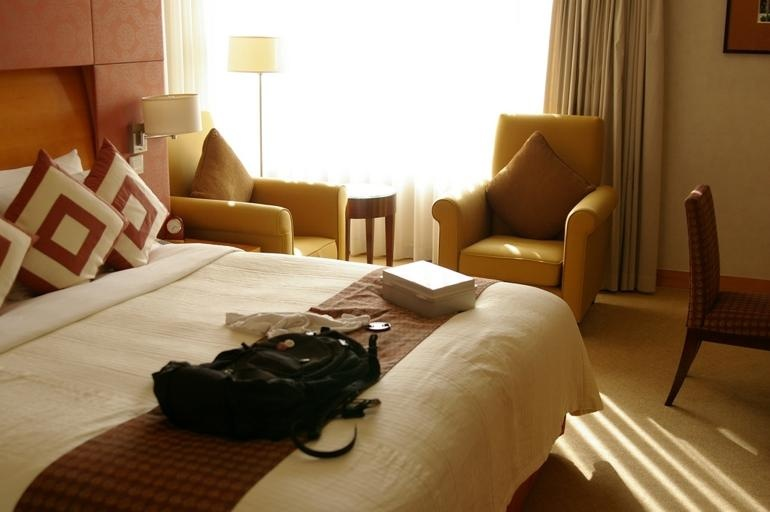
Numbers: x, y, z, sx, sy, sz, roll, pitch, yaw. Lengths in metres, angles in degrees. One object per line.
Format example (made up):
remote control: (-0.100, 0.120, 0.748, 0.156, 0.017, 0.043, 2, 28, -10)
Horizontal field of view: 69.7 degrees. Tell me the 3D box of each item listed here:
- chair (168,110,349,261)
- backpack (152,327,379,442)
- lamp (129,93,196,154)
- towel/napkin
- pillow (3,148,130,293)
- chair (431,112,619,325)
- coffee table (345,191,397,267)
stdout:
chair: (-0.961, -0.267, 4.468, 1.288, 1.484, 1.350, 0, 16, -3)
backpack: (-0.343, 0.448, 1.933, 0.417, 0.161, 0.436, 7, 19, 29)
lamp: (-1.525, -0.894, 3.820, 0.415, 0.357, 0.326, -1, 10, -4)
towel/napkin: (-0.377, 0.286, 2.352, 0.409, 0.083, 0.233, -1, 3, -14)
pillow: (-1.569, -0.133, 2.699, 0.155, 0.579, 0.622, -16, 40, 43)
chair: (1.160, -0.293, 4.353, 1.351, 1.573, 1.462, 0, 14, 6)
coffee table: (-0.147, -0.200, 4.697, 0.467, 0.572, 0.485, 3, 7, 27)
